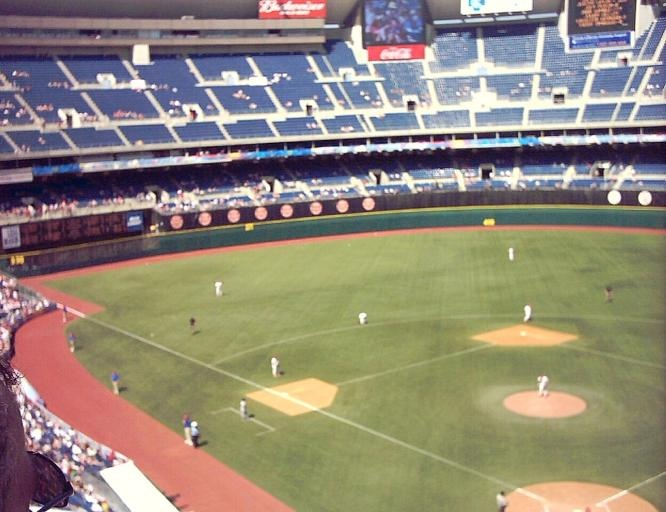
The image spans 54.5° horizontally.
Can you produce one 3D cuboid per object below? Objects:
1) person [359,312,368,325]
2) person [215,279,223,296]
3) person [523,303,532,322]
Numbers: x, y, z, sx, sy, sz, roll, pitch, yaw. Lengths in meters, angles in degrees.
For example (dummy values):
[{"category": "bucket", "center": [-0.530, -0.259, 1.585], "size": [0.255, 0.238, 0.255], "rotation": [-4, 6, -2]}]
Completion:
[{"category": "person", "center": [2.031, 4.305, 45.123], "size": [0.563, 0.793, 0.885], "rotation": [-13, 14, 8]}, {"category": "person", "center": [-9.220, 2.628, 52.384], "size": [1.003, 1.582, 0.630], "rotation": [1, 18, -8]}, {"category": "person", "center": [13.159, 3.760, 44.178], "size": [0.545, 1.174, 1.550], "rotation": [-10, 15, 19]}]
